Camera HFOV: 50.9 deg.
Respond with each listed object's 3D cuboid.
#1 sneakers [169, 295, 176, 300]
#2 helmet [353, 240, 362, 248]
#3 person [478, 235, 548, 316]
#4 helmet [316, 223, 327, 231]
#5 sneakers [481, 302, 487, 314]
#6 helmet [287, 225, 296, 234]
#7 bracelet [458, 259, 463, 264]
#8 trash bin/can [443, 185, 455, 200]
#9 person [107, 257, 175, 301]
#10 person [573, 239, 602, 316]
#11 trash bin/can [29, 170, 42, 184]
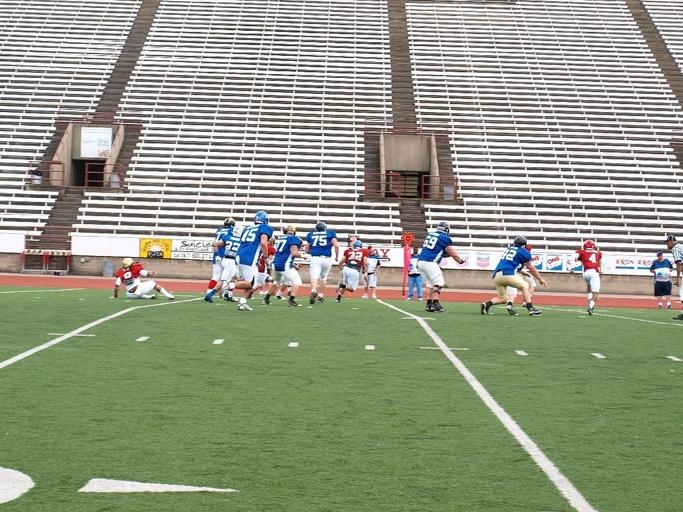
[{"bbox_3d":[-3.960,1.006,16.867,0.218,0.087,0.103,-1,14,-8],"label":"sneakers"},{"bbox_3d":[0.380,-0.293,19.634,0.217,0.171,0.269,-5,-14,30],"label":"helmet"},{"bbox_3d":[3.794,0.442,15.892,1.209,1.754,1.444,3,-2,12],"label":"person"},{"bbox_3d":[-0.524,-0.679,17.061,0.203,0.170,0.217,5,5,19],"label":"helmet"},{"bbox_3d":[3.124,1.186,15.761,0.152,0.272,0.120,-28,31,-35],"label":"sneakers"},{"bbox_3d":[-1.162,-0.589,16.373,0.213,0.169,0.220,6,4,2],"label":"helmet"},{"bbox_3d":[2.644,0.137,16.120,0.124,0.108,0.336,-6,-5,12],"label":"bracelet"},{"bbox_3d":[4.827,-2.846,32.122,0.557,0.634,0.323,3,-2,7],"label":"trash bin/can"},{"bbox_3d":[-4.635,0.585,16.967,1.864,0.760,0.847,0,-6,23],"label":"person"},{"bbox_3d":[7.325,0.760,21.445,1.186,2.074,0.712,3,-12,20],"label":"person"},{"bbox_3d":[-13.509,-3.451,31.694,0.823,0.604,0.623,0,0,-11],"label":"trash bin/can"}]
